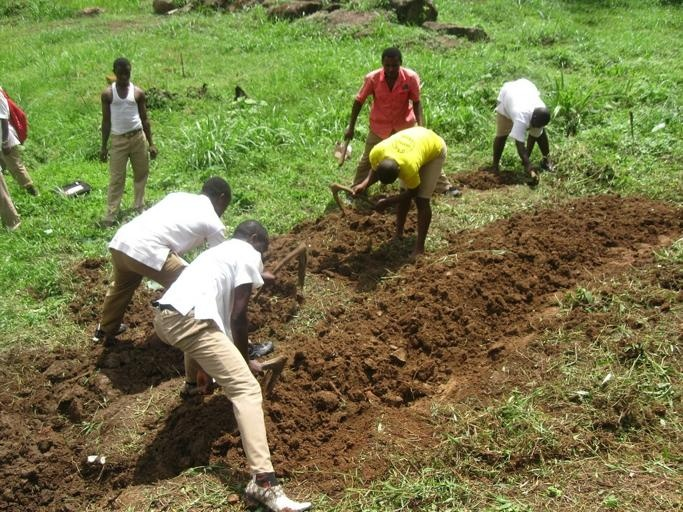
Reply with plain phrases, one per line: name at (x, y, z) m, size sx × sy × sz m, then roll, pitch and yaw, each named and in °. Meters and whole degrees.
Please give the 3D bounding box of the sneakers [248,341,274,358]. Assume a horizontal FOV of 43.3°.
sneakers at (-1.011, 1.162, 10.795) m, size 0.248 × 0.095 × 0.183 m, roll -21°, pitch 54°, yaw 1°

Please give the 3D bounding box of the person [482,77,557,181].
person at (2.838, -1.884, 13.444) m, size 0.826 × 1.692 × 1.301 m, roll -14°, pitch -11°, yaw 12°

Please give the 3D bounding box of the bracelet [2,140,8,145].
bracelet at (-5.043, -1.694, 12.923) m, size 0.088 × 0.058 × 0.053 m, roll -14°, pitch -17°, yaw 25°

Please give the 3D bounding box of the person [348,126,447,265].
person at (0.788, -0.818, 11.817) m, size 0.808 × 1.715 × 1.393 m, roll 20°, pitch 36°, yaw 30°

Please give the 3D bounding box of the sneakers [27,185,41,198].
sneakers at (-4.847, -1.028, 13.554) m, size 0.094 × 0.094 × 0.237 m, roll -47°, pitch 15°, yaw -7°
